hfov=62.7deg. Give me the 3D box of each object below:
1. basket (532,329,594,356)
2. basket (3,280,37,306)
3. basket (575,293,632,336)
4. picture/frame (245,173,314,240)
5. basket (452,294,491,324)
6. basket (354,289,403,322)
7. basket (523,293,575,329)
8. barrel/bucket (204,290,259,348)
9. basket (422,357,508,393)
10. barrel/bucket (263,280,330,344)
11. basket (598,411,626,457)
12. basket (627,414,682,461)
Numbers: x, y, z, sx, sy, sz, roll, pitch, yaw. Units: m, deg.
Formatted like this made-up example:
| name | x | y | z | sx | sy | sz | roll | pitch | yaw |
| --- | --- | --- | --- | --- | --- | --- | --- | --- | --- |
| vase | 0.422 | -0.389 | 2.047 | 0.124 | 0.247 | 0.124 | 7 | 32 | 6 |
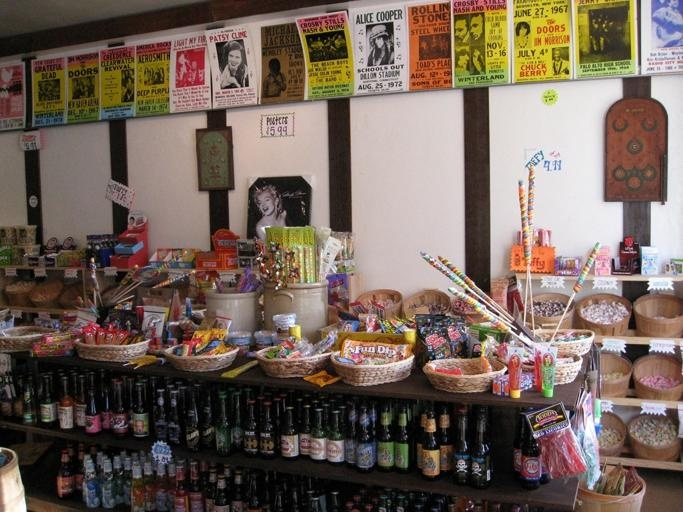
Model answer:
| name | x | y | z | sx | sy | sz | roll | pitch | yaw |
| --- | --- | --- | --- | --- | --- | --- | --- | --- | --- |
| basket | 1.356 | 0.513 | 3.467 | 0.256 | 0.087 | 0.265 | -2 | 4 | -43 |
| basket | -3.526 | 0.409 | 6.185 | 0.297 | 0.200 | 0.294 | -1 | -3 | 1 |
| basket | 2.199 | 0.481 | 4.698 | 0.392 | 0.228 | 0.356 | -12 | 19 | -33 |
| picture/frame | -0.556 | -0.468 | 5.281 | 0.674 | 0.644 | 0.098 | 2 | 1 | 19 |
| basket | 1.135 | 0.412 | 4.904 | 0.376 | 0.157 | 0.381 | 13 | 5 | 29 |
| basket | 0.333 | 0.374 | 5.128 | 0.339 | 0.120 | 0.292 | -4 | 10 | -21 |
| basket | 1.771 | 0.447 | 4.769 | 0.429 | 0.296 | 0.381 | -3 | 5 | -34 |
| barrel/bucket | -0.725 | 0.421 | 3.794 | 0.322 | 0.265 | 0.303 | 2 | 4 | 0 |
| basket | 0.686 | 0.664 | 3.134 | 0.449 | 0.156 | 0.237 | -2 | 4 | 7 |
| barrel/bucket | -0.303 | 0.364 | 3.903 | 0.380 | 0.391 | 0.412 | 0 | 2 | 0 |
| basket | 2.267 | 1.514 | 4.708 | 0.303 | 0.195 | 0.346 | 2 | 21 | 15 |
| basket | 2.583 | 1.493 | 4.635 | 0.335 | 0.150 | 0.302 | 1 | 9 | 15 |
